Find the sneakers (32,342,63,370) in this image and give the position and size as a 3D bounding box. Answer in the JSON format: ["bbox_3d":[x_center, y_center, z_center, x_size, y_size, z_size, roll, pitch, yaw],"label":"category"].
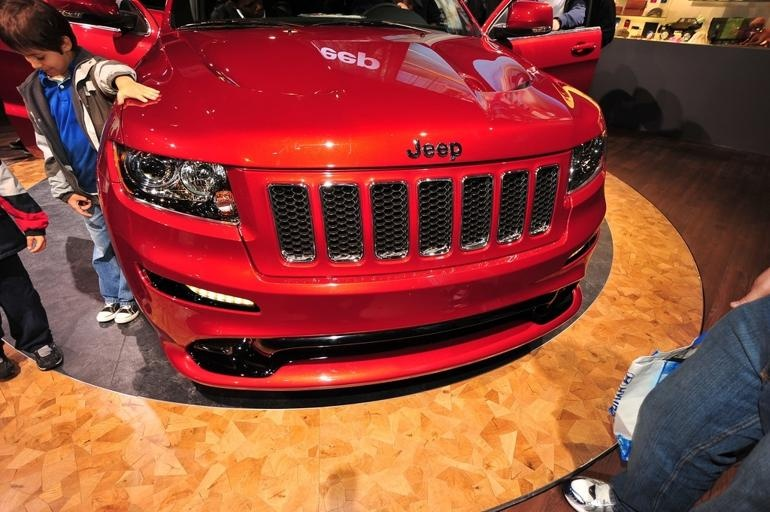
[{"bbox_3d":[-1.826,0.546,2.627,0.209,0.089,0.089,24,29,36],"label":"sneakers"}]

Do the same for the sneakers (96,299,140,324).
[{"bbox_3d":[-1.592,0.347,2.876,0.165,0.095,0.257,1,4,-5],"label":"sneakers"}]

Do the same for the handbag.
[{"bbox_3d":[1.134,0.623,2.030,0.231,0.543,0.377,17,49,-7],"label":"handbag"}]
